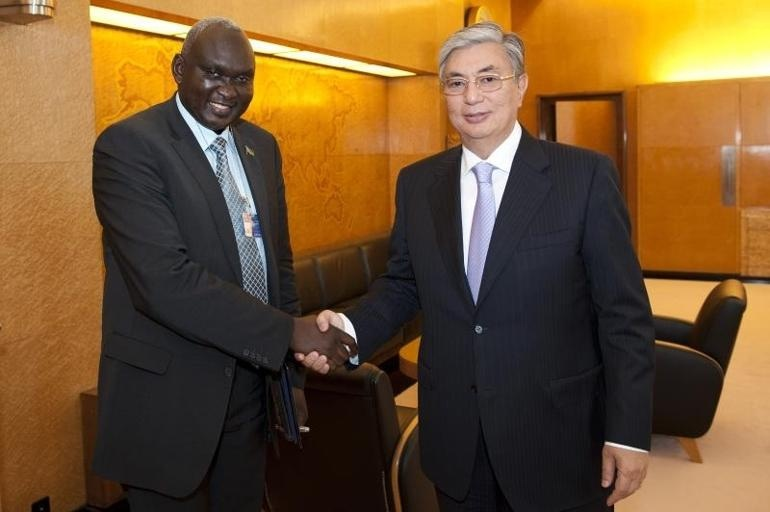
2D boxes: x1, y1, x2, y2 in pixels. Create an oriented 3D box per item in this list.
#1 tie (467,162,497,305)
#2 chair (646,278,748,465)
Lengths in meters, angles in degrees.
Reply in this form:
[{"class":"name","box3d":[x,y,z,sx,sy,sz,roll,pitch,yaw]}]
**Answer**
[{"class":"tie","box3d":[0.394,-0.116,2.370,0.100,0.626,0.084,-4,-19,15]},{"class":"chair","box3d":[2.275,0.966,5.153,1.325,1.417,1.262,-3,-1,14]}]
